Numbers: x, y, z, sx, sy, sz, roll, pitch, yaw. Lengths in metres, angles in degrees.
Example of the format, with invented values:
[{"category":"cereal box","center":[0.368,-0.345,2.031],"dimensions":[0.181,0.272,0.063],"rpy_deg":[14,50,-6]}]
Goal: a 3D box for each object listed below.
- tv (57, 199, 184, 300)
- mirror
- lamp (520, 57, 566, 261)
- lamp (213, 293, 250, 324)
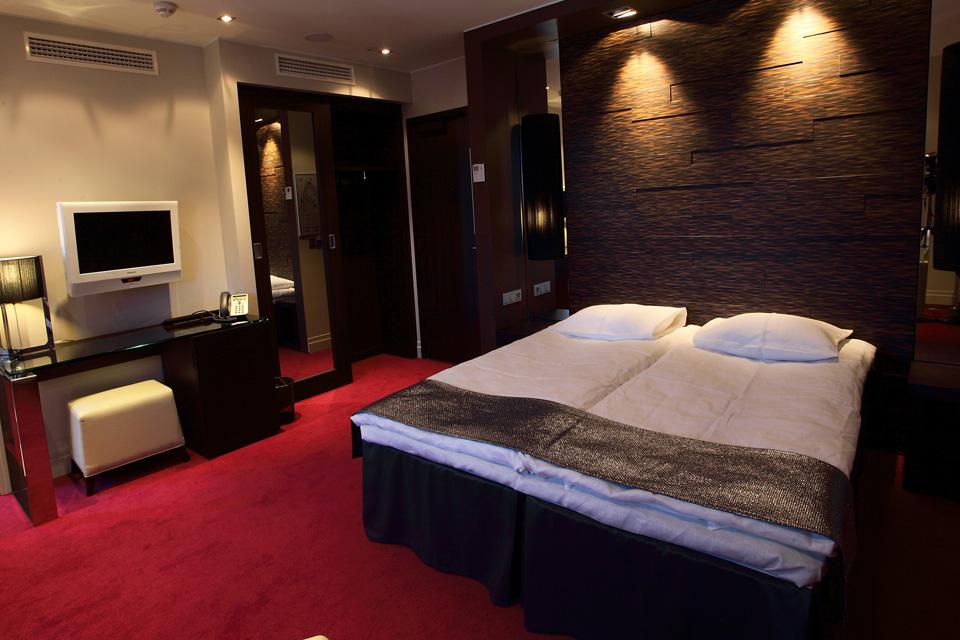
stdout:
[{"category":"tv","center":[-2.629,-0.537,4.498],"dimensions":[0.143,0.600,0.754],"rpy_deg":[6,12,43]},{"category":"mirror","center":[-1.622,-0.637,5.430],"dimensions":[0.261,2.315,0.801],"rpy_deg":[3,17,32]},{"category":"lamp","center":[0.519,-1.103,5.206],"dimensions":[0.385,1.176,0.214],"rpy_deg":[-5,15,4]},{"category":"lamp","center":[-1.930,-0.089,4.937],"dimensions":[0.267,0.252,0.368],"rpy_deg":[4,-8,-23]}]
